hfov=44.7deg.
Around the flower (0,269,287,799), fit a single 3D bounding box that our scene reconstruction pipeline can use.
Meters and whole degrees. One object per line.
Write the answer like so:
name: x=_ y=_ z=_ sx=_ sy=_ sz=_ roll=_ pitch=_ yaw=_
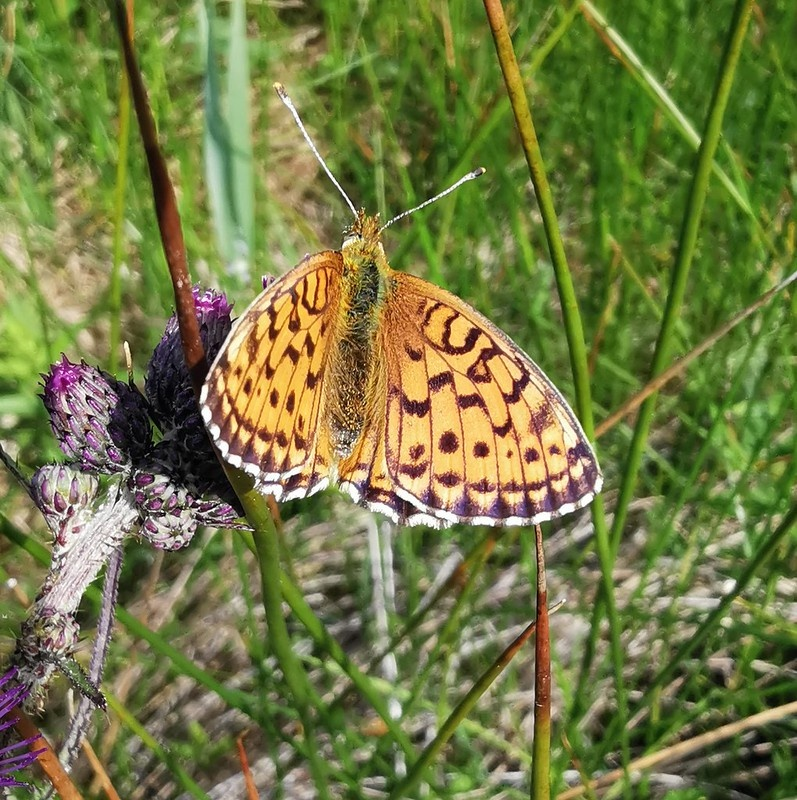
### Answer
flower: x=-0.660 y=0.229 z=2.381 sx=0.528 sy=0.434 sz=1.015 roll=-4 pitch=45 yaw=2
